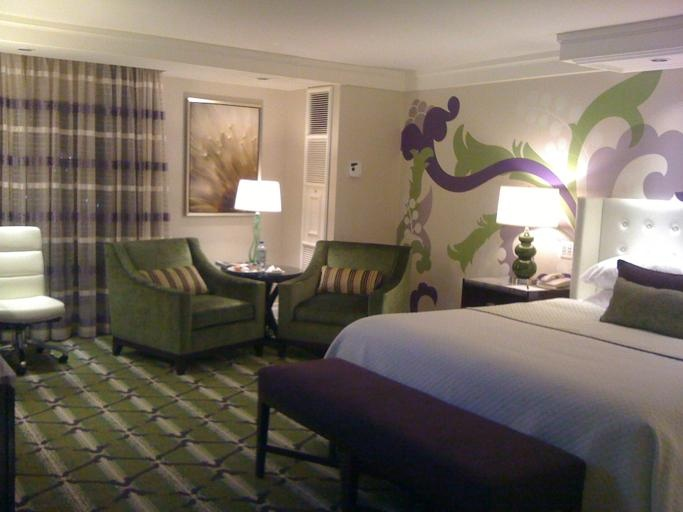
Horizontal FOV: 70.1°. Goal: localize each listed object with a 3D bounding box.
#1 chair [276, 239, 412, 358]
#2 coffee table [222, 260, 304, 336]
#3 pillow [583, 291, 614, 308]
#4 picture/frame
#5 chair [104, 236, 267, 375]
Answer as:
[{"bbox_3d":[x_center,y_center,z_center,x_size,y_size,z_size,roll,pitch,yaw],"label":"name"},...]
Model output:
[{"bbox_3d":[0.005,0.372,5.238,1.162,1.283,1.197,4,4,22],"label":"chair"},{"bbox_3d":[-0.831,0.389,5.336,0.841,0.650,0.756,3,4,9],"label":"coffee table"},{"bbox_3d":[2.094,0.344,3.969,0.139,0.179,0.135,-1,4,-15],"label":"pillow"},{"bbox_3d":[-1.480,-1.206,6.065,0.919,1.383,0.059,-2,9,-31],"label":"picture/frame"},{"bbox_3d":[-1.591,0.431,5.025,1.324,1.347,1.282,2,3,44],"label":"chair"}]
